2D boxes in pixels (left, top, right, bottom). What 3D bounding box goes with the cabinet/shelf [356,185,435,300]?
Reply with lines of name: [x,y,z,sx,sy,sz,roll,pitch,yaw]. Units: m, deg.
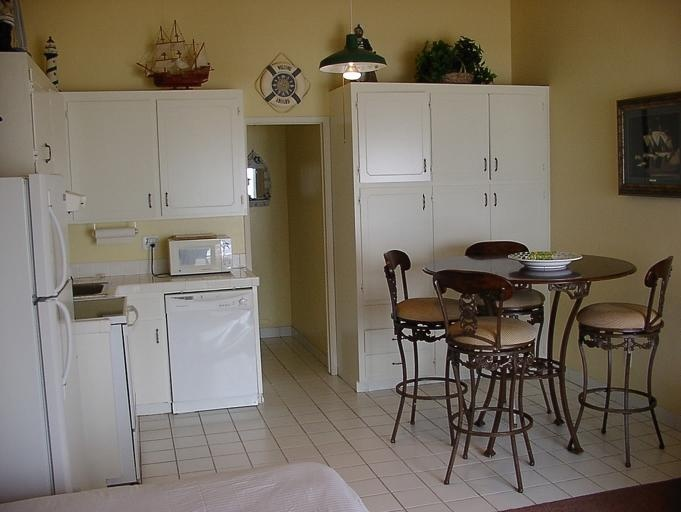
cabinet/shelf: [0.547,-0.076,5.384,0.713,1.174,0.446,0,-5,5]

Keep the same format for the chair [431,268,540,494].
chair: [1.070,0.721,4.091,0.687,1.454,1.208,1,10,17]

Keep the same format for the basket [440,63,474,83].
basket: [1.135,-1.740,5.340,0.302,0.191,0.138,-6,11,-25]

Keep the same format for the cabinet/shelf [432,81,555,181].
cabinet/shelf: [1.385,-1.114,5.622,1.335,1.092,0.487,-4,10,-9]

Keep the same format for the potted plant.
potted plant: [1.111,-1.864,5.357,0.637,0.397,0.510,0,7,-13]

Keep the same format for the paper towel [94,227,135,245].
paper towel: [-2.070,-0.189,5.130,0.361,0.152,0.201,-5,10,-15]

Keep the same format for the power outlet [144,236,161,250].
power outlet: [-1.799,-0.131,5.286,0.134,0.108,0.017,-1,11,-15]

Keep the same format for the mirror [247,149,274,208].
mirror: [-1.048,-0.940,6.820,0.059,0.686,0.504,1,8,35]

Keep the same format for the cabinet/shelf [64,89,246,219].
cabinet/shelf: [-1.717,-0.931,4.954,1.355,0.928,0.463,-1,4,-14]

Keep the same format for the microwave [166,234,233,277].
microwave: [-1.255,-0.020,5.219,0.575,0.336,0.336,-3,11,4]

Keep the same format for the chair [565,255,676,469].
chair: [2.133,0.656,4.200,0.634,1.440,1.068,3,11,26]
